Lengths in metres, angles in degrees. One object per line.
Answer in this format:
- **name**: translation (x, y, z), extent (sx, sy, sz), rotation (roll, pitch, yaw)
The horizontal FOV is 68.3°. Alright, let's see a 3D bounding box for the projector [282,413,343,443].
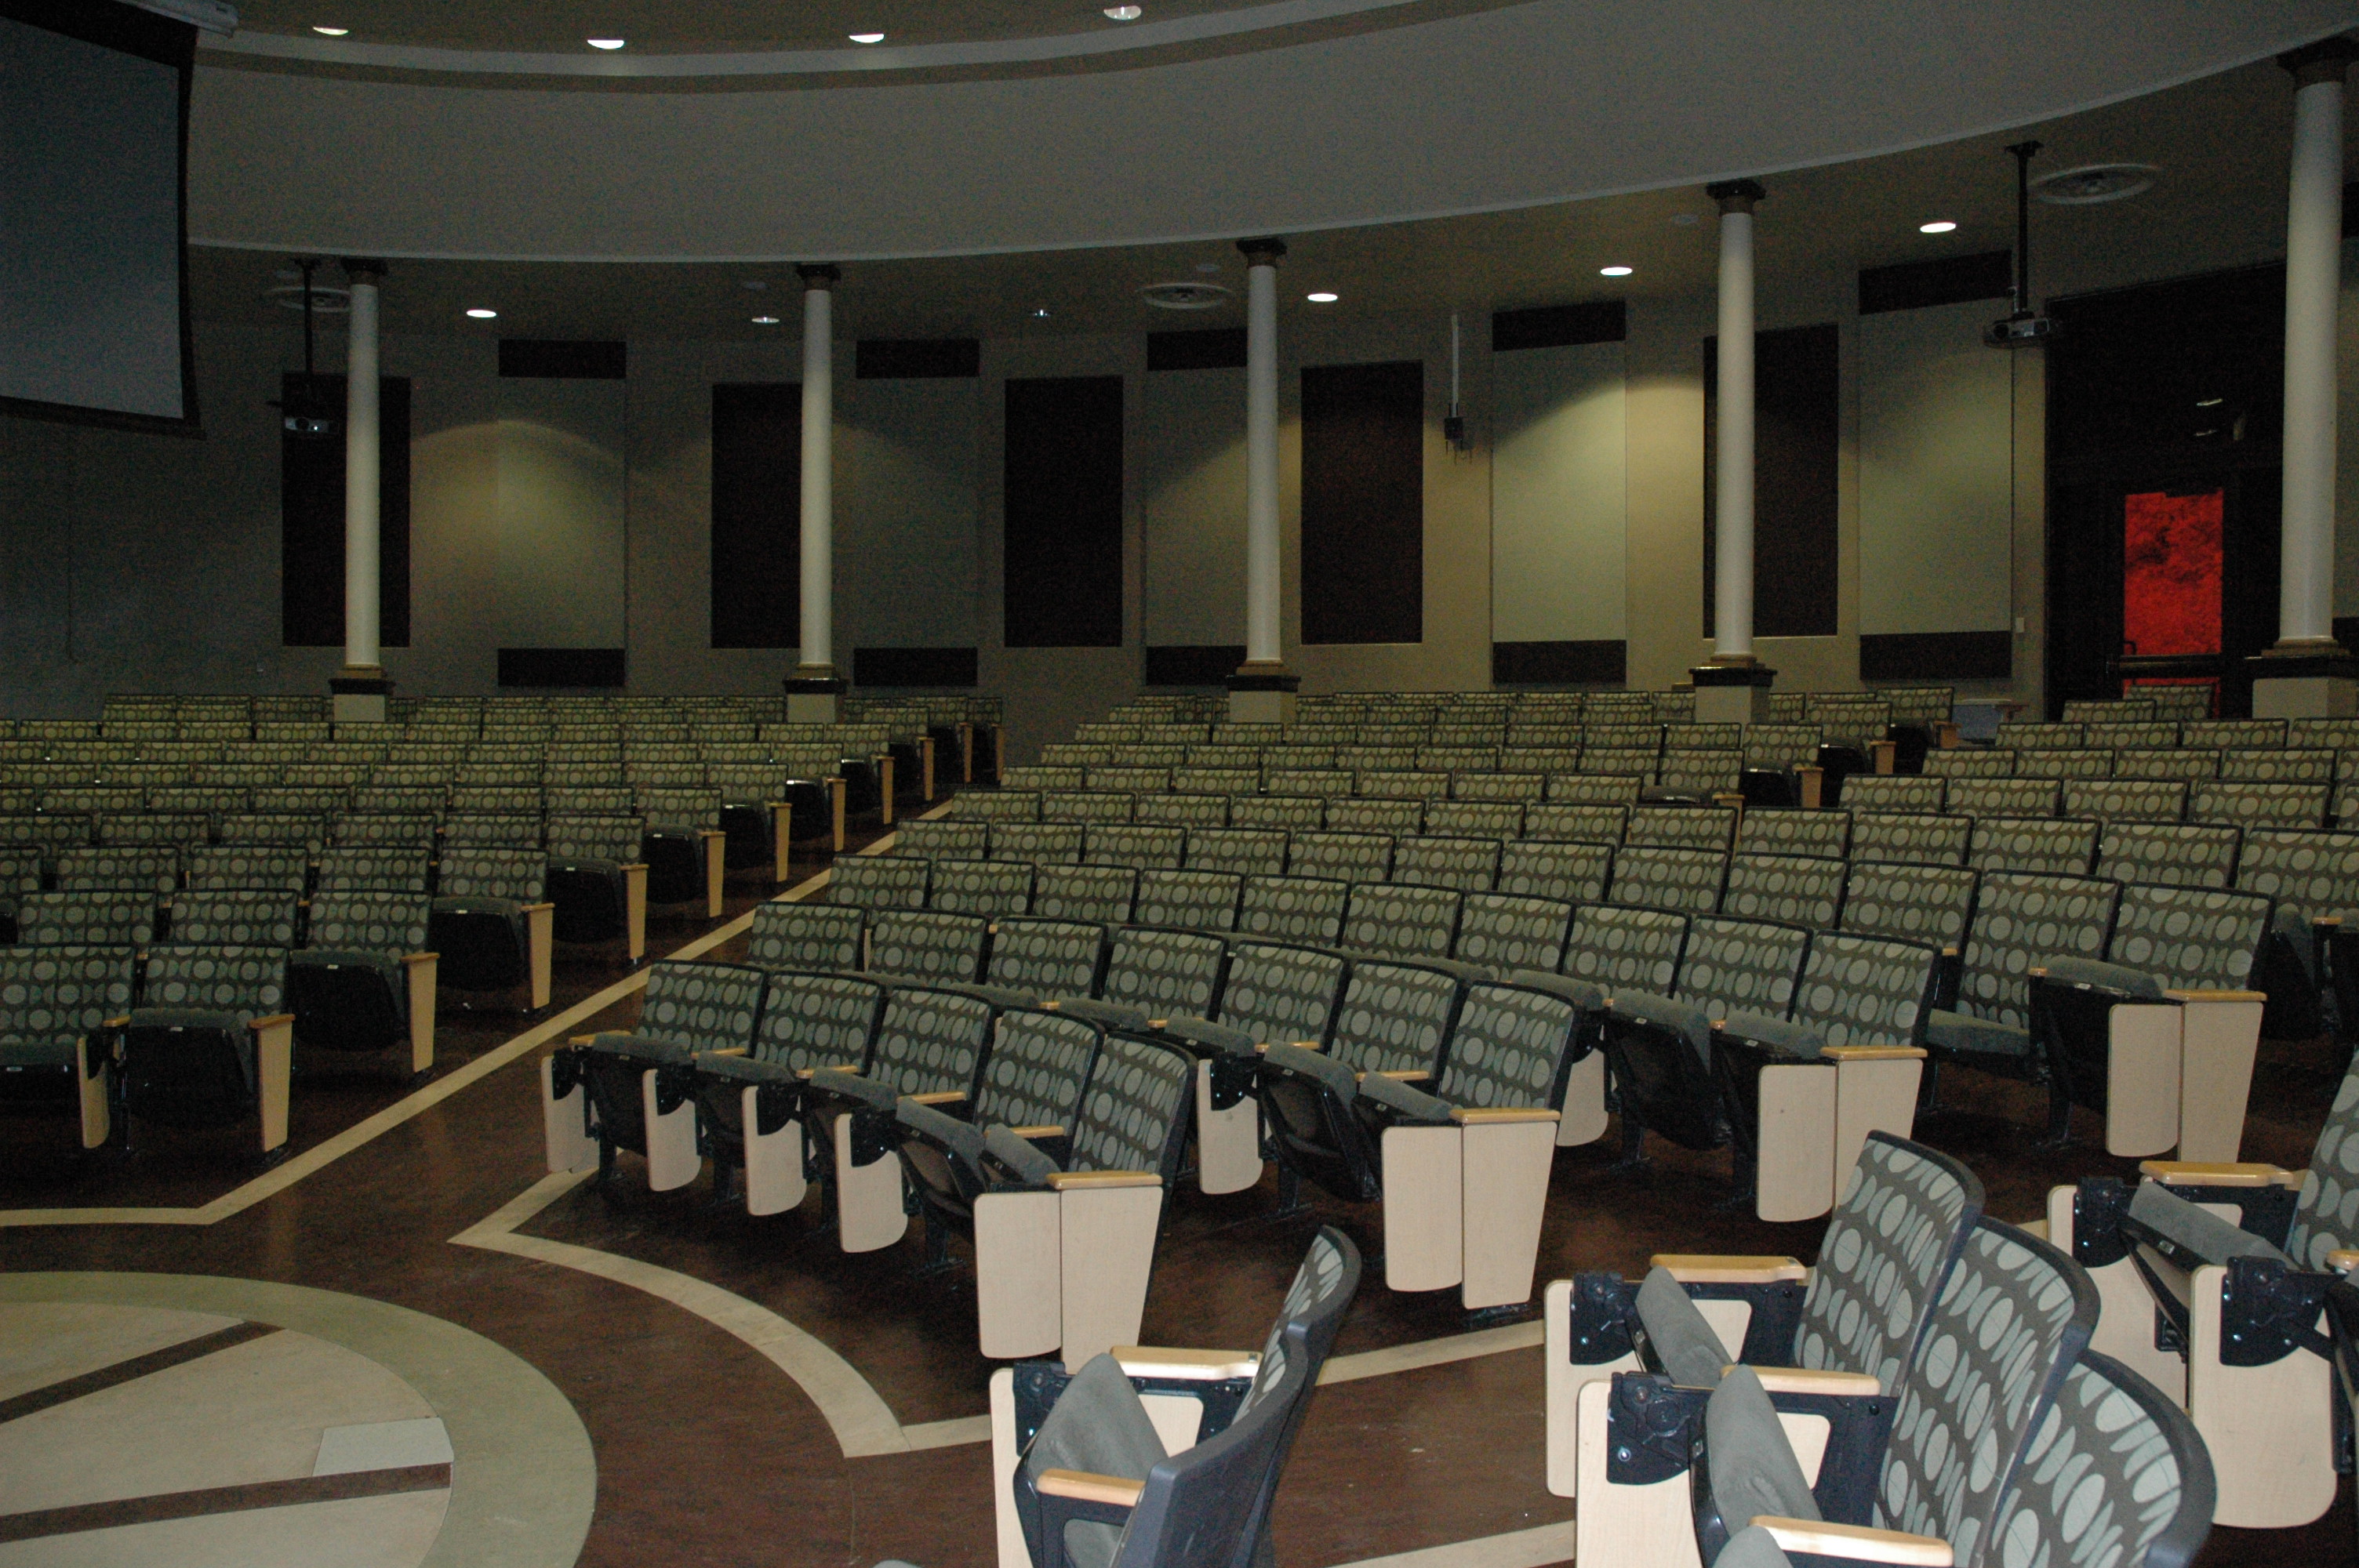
- **projector**: translation (-9.432, -3.897, 18.935), extent (0.429, 0.183, 0.779), rotation (-4, 10, -41)
